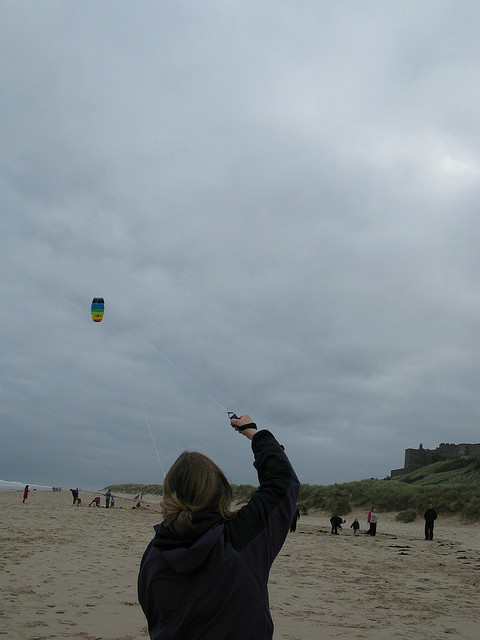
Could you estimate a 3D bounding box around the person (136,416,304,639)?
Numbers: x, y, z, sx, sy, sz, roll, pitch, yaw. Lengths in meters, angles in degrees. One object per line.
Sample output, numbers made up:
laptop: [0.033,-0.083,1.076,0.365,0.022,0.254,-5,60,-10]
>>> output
person: [-0.072,0.809,2.091,0.553,0.764,0.331,6,-12,-17]

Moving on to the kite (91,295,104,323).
kite: [-1.788,-0.131,6.855,0.119,0.393,0.579,6,-12,-17]

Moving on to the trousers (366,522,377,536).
trousers: [4.976,7.950,20.767,0.333,0.531,0.897,1,-12,10]

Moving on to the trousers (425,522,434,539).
trousers: [6.848,7.672,19.903,0.211,0.584,0.773,0,-12,15]

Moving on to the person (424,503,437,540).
person: [6.827,7.298,19.693,0.356,1.339,1.674,-1,-12,18]

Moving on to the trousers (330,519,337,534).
trousers: [3.677,8.131,21.406,0.217,0.513,0.388,0,-12,12]

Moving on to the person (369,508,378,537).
person: [5.038,7.681,20.812,0.255,1.061,1.064,0,-12,12]
